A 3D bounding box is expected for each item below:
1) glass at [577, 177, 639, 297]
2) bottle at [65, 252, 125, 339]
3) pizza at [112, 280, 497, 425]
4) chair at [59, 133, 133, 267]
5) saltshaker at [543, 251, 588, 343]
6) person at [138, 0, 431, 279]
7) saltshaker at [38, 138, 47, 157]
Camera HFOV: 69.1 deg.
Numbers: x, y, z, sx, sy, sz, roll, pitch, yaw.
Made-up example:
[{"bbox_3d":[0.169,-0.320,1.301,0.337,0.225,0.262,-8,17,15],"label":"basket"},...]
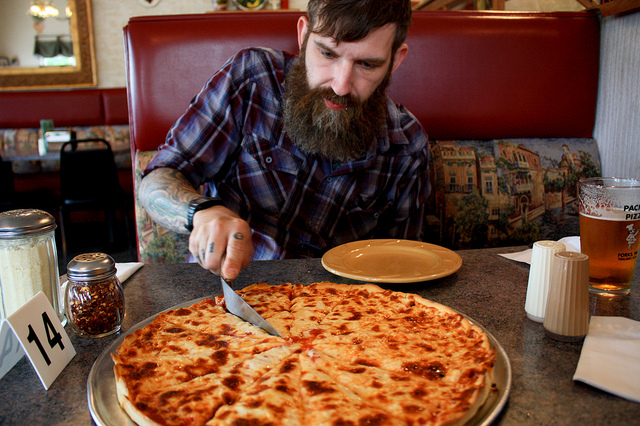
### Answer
[{"bbox_3d":[0.856,0.074,1.343,0.203,0.336,0.104,0,11,1],"label":"glass"},{"bbox_3d":[-0.624,0.222,1.278,0.146,0.214,0.144,2,15,0],"label":"bottle"},{"bbox_3d":[-0.045,0.352,1.244,0.962,0.192,0.499,0,11,2],"label":"pizza"},{"bbox_3d":[-1.819,-0.115,3.653,0.578,0.917,0.539,6,8,44],"label":"chair"},{"bbox_3d":[0.645,0.216,1.195,0.103,0.230,0.052,3,11,15],"label":"saltshaker"},{"bbox_3d":[-0.100,-0.306,1.905,1.219,1.009,0.718,-10,14,-41],"label":"person"},{"bbox_3d":[-2.405,-0.571,3.998,0.052,0.145,0.149,-6,12,-29],"label":"saltshaker"}]
